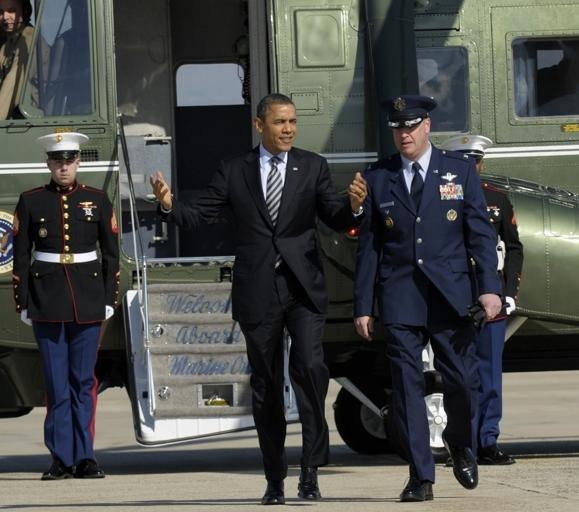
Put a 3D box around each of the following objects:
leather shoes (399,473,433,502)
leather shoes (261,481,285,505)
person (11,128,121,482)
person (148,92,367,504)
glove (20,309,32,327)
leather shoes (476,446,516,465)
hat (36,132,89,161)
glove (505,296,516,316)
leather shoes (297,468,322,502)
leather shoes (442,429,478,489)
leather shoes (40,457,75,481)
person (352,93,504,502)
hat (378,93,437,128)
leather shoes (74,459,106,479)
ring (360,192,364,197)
[{"bbox_3d":[0.735,1.349,8.564,0.096,0.109,0.235,-7,-13,30],"label":"leather shoes"},{"bbox_3d":[-0.101,1.371,8.652,0.139,0.135,0.219,-2,10,-1],"label":"leather shoes"},{"bbox_3d":[-1.452,0.308,9.737,0.706,2.238,0.555,-4,10,-11],"label":"person"},{"bbox_3d":[-0.041,0.231,8.688,0.843,2.327,0.951,-12,13,-43],"label":"person"},{"bbox_3d":[-1.721,0.403,9.661,0.089,0.105,0.039,8,12,17],"label":"glove"},{"bbox_3d":[1.344,1.323,9.842,0.281,0.126,0.102,-7,-8,29],"label":"leather shoes"},{"bbox_3d":[-1.472,-0.717,9.608,0.313,0.175,0.145,-4,10,-9],"label":"hat"},{"bbox_3d":[1.430,0.321,9.605,0.088,0.121,0.114,-3,6,12],"label":"glove"},{"bbox_3d":[0.114,1.341,8.651,0.162,0.174,0.414,1,-10,-1],"label":"leather shoes"},{"bbox_3d":[1.012,1.206,8.652,0.141,0.385,0.159,-22,-3,0],"label":"leather shoes"},{"bbox_3d":[-1.527,1.380,9.678,0.214,0.148,0.165,-3,10,-4],"label":"leather shoes"},{"bbox_3d":[0.798,0.218,8.649,0.837,2.284,0.718,-2,10,2],"label":"person"},{"bbox_3d":[0.706,-0.874,8.766,0.338,0.170,0.384,-6,8,1],"label":"hat"},{"bbox_3d":[-1.314,1.398,9.731,0.251,0.106,0.091,-2,-5,17],"label":"leather shoes"},{"bbox_3d":[0.413,-0.357,8.437,0.024,0.022,0.008,-5,6,-15],"label":"ring"}]
